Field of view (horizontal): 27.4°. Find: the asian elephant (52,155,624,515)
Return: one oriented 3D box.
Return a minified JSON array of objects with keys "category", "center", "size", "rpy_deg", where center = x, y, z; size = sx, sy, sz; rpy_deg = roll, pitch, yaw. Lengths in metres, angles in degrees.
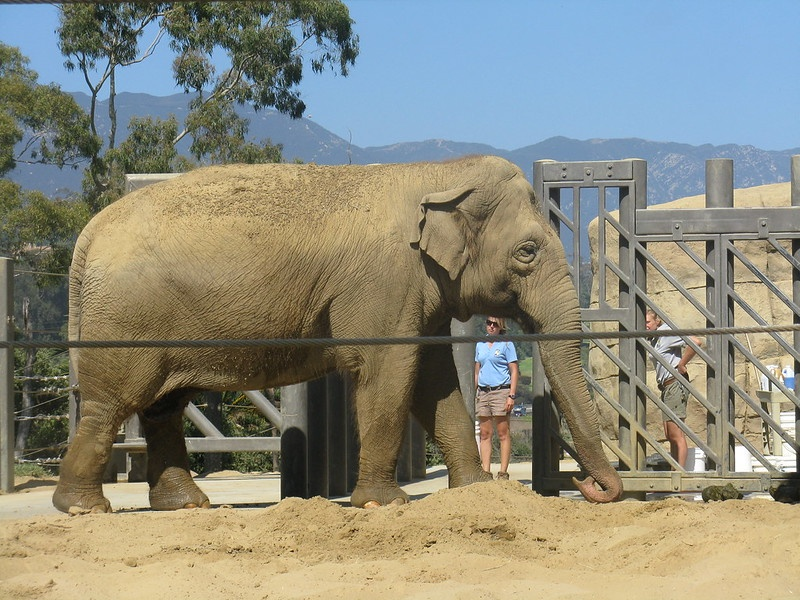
[{"category":"asian elephant","center":[-0.634,0.410,16.418],"size":[5.599,3.556,1.940],"rpy_deg":[0,11,-8]}]

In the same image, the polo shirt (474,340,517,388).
[{"category":"polo shirt","center":[1.027,0.701,17.492],"size":[0.546,0.532,0.296],"rpy_deg":[-2,-8,22]}]

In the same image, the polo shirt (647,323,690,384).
[{"category":"polo shirt","center":[2.776,0.558,17.030],"size":[0.370,0.688,0.682],"rpy_deg":[4,-9,-24]}]
